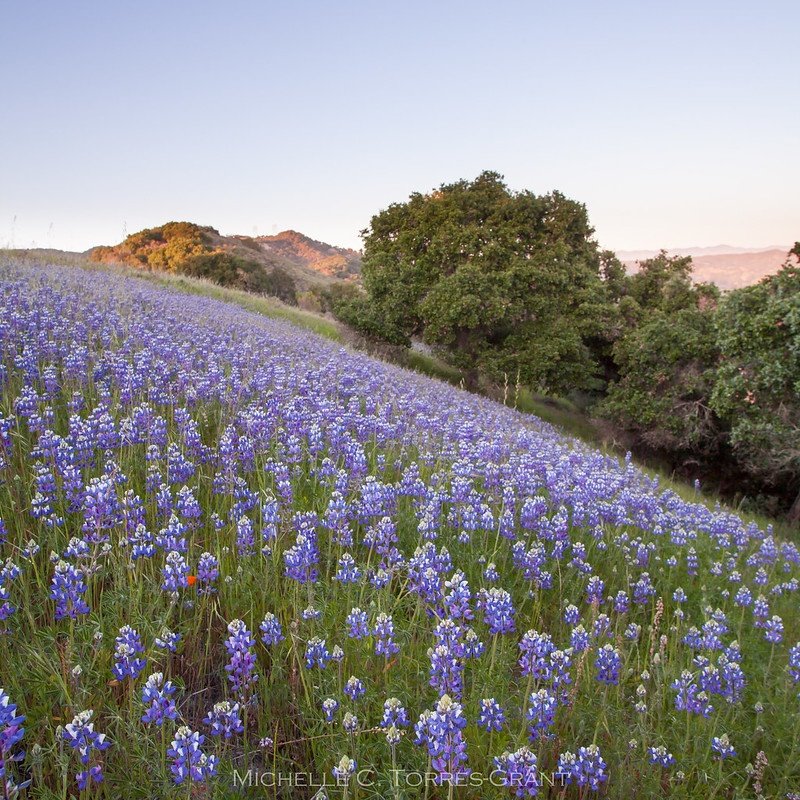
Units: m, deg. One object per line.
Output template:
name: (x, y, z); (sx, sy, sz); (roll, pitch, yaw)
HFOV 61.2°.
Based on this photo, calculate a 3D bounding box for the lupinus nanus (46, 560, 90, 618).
lupinus nanus: (-1.882, 1.082, 3.888); (0.166, 0.404, 0.345); (-2, 8, -27)

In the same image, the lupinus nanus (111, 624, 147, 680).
lupinus nanus: (-1.500, 1.417, 3.774); (0.167, 0.361, 0.277); (-1, 8, -23)
